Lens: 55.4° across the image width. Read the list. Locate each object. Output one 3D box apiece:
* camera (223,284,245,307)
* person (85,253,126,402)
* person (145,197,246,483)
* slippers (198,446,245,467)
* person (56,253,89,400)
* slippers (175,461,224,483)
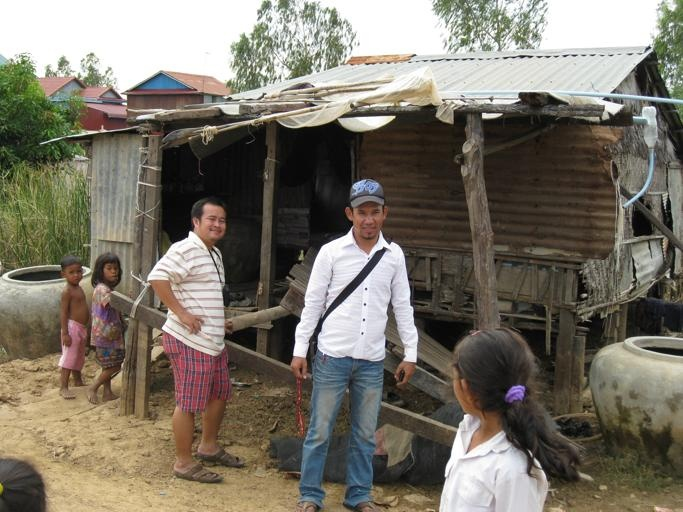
[{"bbox_3d":[-1.580,0.589,9.454,0.268,0.250,0.368,-2,2,22],"label":"camera"},{"bbox_3d":[-2.861,0.892,7.953,0.430,1.777,0.374,4,-2,-16],"label":"person"},{"bbox_3d":[-1.463,0.802,6.425,0.878,2.468,0.542,4,-2,-13],"label":"person"},{"bbox_3d":[-1.203,2.070,6.764,0.502,0.207,0.181,7,5,-1],"label":"slippers"},{"bbox_3d":[-3.436,0.890,8.300,0.361,1.792,0.344,4,-2,-24],"label":"person"},{"bbox_3d":[-1.391,2.115,6.320,0.373,0.142,0.194,2,-4,12],"label":"slippers"}]
